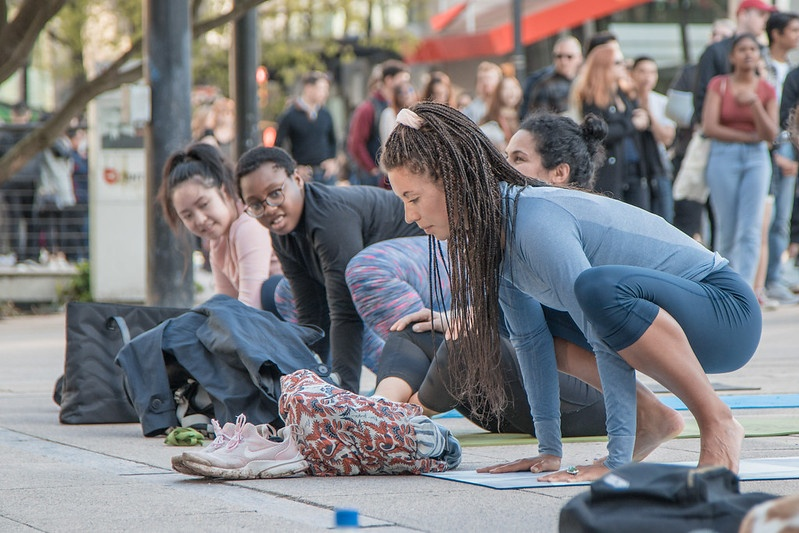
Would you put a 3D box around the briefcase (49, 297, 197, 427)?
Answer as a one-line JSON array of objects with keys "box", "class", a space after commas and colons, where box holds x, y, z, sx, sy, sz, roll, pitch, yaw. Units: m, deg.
[{"box": [-1.449, 0.484, 7.302, 0.652, 0.559, 0.234, 5, 6, 29], "class": "briefcase"}]

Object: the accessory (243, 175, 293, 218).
[{"box": [-0.731, -0.347, 7.393, 0.287, 0.187, 0.108, 4, 8, 38], "class": "accessory"}]

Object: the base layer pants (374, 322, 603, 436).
[{"box": [0.431, 0.605, 6.960, 0.977, 0.451, 0.535, 23, -8, -17], "class": "base layer pants"}]

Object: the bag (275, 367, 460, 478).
[{"box": [-0.165, 0.720, 6.194, 0.527, 0.225, 0.502, 10, 16, -22], "class": "bag"}]

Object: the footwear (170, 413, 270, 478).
[{"box": [-0.752, 0.800, 6.123, 0.475, 0.236, 0.216, -2, 6, -11], "class": "footwear"}]

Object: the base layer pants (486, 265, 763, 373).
[{"box": [0.850, 0.220, 6.394, 1.207, 0.458, 1.370, 0, 1, 39], "class": "base layer pants"}]

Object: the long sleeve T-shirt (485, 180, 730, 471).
[{"box": [0.692, 0.198, 6.495, 1.267, 1.282, 0.967, -15, -1, -6], "class": "long sleeve T-shirt"}]

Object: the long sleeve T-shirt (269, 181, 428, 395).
[{"box": [-0.218, 0.095, 7.730, 1.015, 1.133, 0.593, -5, 7, -25], "class": "long sleeve T-shirt"}]

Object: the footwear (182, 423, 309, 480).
[{"box": [-0.669, 0.795, 6.165, 0.526, 0.235, 0.179, -3, 2, -13], "class": "footwear"}]

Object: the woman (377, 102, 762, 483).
[{"box": [0.724, 0.132, 6.310, 1.783, 1.523, 1.257, 3, -6, -15], "class": "woman"}]

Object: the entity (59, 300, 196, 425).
[{"box": [-1.560, 0.511, 7.398, 0.244, 0.576, 0.690, -10, -14, 23], "class": "entity"}]
